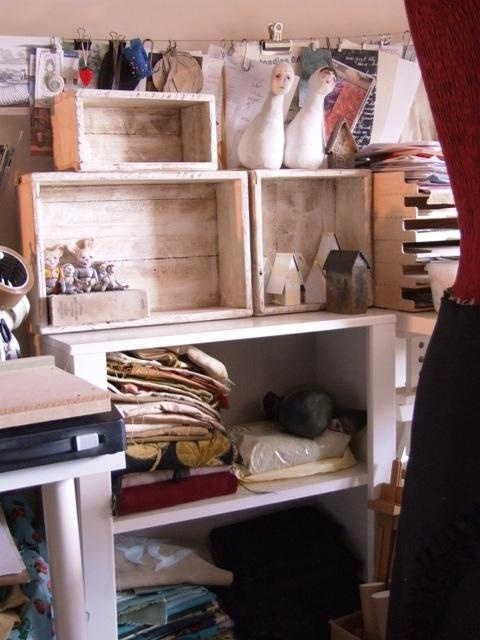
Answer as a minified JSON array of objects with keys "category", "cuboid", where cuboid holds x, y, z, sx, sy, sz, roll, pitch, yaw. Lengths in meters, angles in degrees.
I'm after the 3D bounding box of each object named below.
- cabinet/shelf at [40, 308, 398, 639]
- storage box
[{"category":"cabinet/shelf","cuboid":[-0.028,0.384,1.269,0.867,0.780,0.300,-6,9,-28]},{"category":"storage box","cuboid":[-0.143,-0.276,1.376,0.690,0.602,0.227,-5,8,-29]}]
